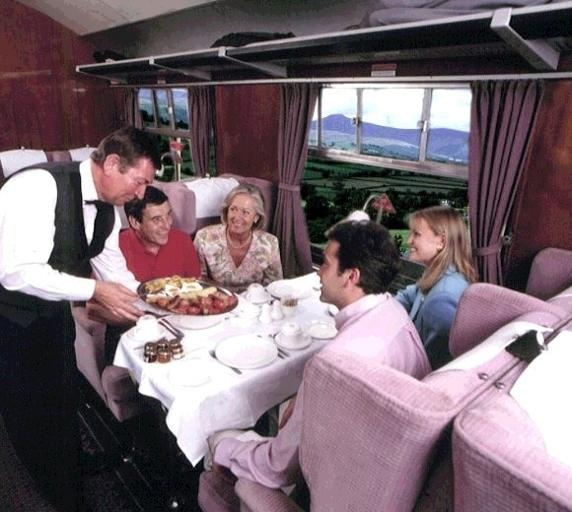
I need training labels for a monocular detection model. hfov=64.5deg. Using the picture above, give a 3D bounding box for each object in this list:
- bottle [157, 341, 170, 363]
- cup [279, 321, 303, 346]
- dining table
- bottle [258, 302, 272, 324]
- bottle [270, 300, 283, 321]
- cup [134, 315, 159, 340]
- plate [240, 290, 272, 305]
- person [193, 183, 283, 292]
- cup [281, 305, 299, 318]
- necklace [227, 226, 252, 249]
[{"bbox_3d":[-0.600,0.467,2.201,0.050,0.072,0.086,0,8,-18],"label":"bottle"},{"bbox_3d":[0.022,0.404,2.408,0.093,0.065,0.097,0,10,0],"label":"cup"},{"bbox_3d":[-0.202,0.541,2.327,1.266,0.345,0.744,-11,23,-41],"label":"dining table"},{"bbox_3d":[-0.121,0.339,2.702,0.088,0.105,0.084,5,9,-1],"label":"bottle"},{"bbox_3d":[-0.056,0.327,2.735,0.089,0.109,0.092,12,23,33],"label":"bottle"},{"bbox_3d":[-0.723,0.368,2.332,0.105,0.123,0.108,0,12,0],"label":"cup"},{"bbox_3d":[-0.190,0.257,2.902,0.106,0.047,0.114,-2,20,1],"label":"plate"},{"bbox_3d":[-0.436,-0.097,3.861,0.871,1.151,0.531,-3,27,-19],"label":"person"},{"bbox_3d":[0.024,0.323,2.740,0.073,0.061,0.076,1,10,0],"label":"cup"},{"bbox_3d":[-0.396,-0.154,3.687,0.126,0.154,0.184,6,25,4],"label":"necklace"}]
